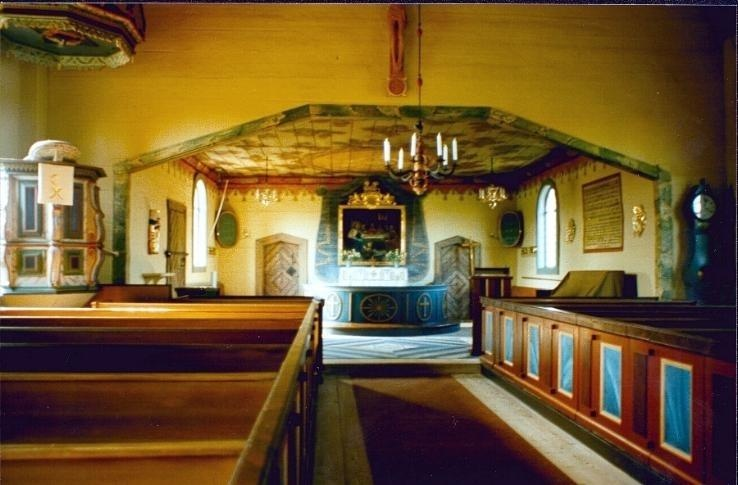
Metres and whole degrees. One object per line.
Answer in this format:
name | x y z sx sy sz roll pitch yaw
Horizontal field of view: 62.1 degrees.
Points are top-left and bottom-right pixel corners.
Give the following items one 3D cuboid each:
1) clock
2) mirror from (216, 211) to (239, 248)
clock | 5.391 -0.041 10.170 0.495 1.930 0.900 4 14 17
mirror | -3.595 -0.345 15.603 0.550 0.865 0.334 -2 14 -6
